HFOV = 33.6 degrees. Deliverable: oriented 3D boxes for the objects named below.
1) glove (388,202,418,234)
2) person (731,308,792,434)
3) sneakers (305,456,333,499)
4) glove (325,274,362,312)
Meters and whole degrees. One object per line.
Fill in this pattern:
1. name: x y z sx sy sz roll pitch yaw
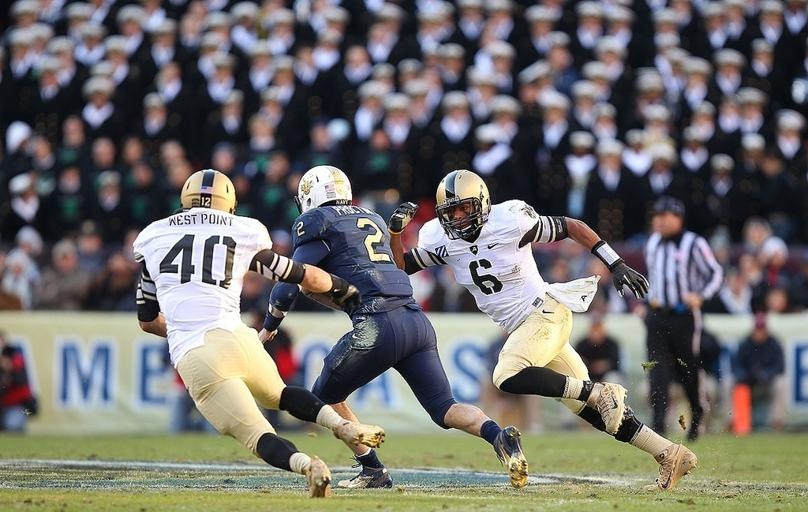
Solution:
1. glove: -0.035 -0.514 16.984 0.258 0.476 0.214 37 -11 17
2. person: 5.590 1.824 21.146 0.829 1.841 0.244 0 -1 -13
3. sneakers: -0.994 2.548 15.524 0.222 0.472 0.276 -2 30 0
4. glove: -0.740 0.454 16.127 0.426 0.200 0.307 37 -18 -10
